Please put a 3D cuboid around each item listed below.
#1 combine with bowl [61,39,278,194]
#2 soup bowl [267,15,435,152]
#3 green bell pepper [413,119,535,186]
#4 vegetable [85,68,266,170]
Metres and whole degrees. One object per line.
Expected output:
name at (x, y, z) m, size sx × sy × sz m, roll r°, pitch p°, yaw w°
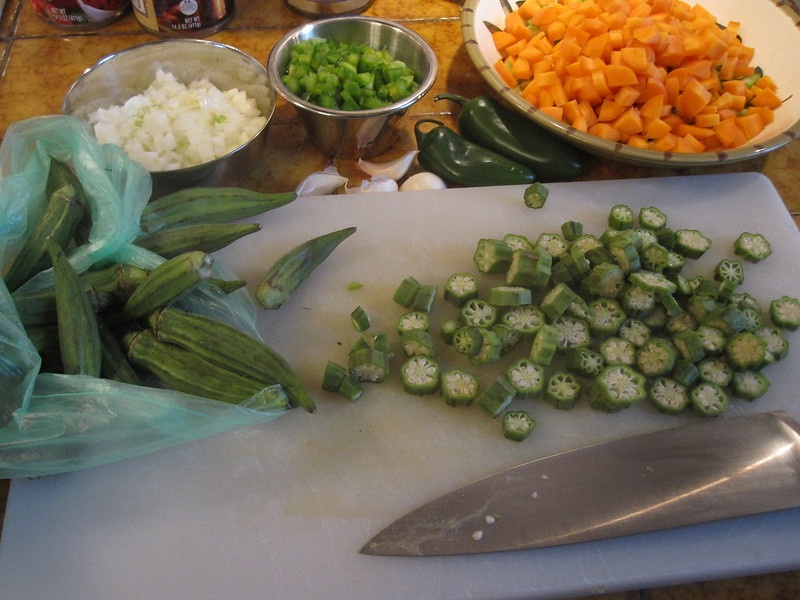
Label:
combine with bowl at (-0.772, -0.656, 2.694) m, size 0.655 × 0.262 × 0.645 m, roll -36°, pitch 65°, yaw -24°
soup bowl at (-0.123, -0.723, 2.631) m, size 0.577 × 0.270 × 0.554 m, roll 2°, pitch 50°, yaw -2°
green bell pepper at (0.279, -0.515, 2.574) m, size 0.424 × 0.132 × 0.223 m, roll 21°, pitch 60°, yaw 15°
vegetable at (-0.726, -0.620, 2.430) m, size 0.472 × 0.176 × 0.421 m, roll -5°, pitch 41°, yaw -3°
